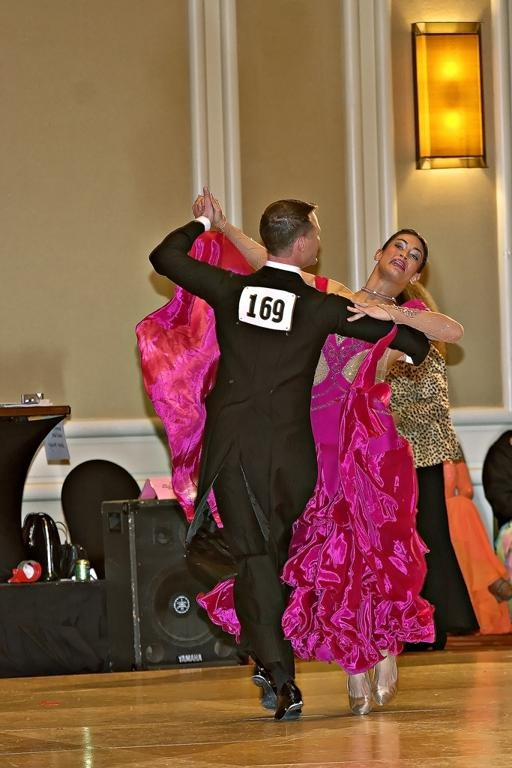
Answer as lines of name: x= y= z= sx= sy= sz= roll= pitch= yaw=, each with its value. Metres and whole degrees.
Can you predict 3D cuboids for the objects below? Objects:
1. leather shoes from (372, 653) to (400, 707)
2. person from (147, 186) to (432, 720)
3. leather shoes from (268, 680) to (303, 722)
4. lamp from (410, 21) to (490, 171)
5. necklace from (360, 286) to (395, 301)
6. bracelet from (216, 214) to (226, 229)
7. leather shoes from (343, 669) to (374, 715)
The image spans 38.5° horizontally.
leather shoes: x=0.336 y=0.750 z=1.904 sx=0.059 sy=0.158 sz=0.049 roll=-4 pitch=-6 yaw=25
person: x=0.044 y=0.154 z=1.816 sx=0.380 sy=1.198 sz=0.411 roll=-8 pitch=7 yaw=-38
leather shoes: x=0.067 y=0.714 z=1.647 sx=0.048 sy=0.052 sz=0.125 roll=0 pitch=-12 yaw=-2
lamp: x=1.153 y=-1.745 z=4.430 sx=0.422 sy=0.867 sz=0.184 roll=-3 pitch=6 yaw=3
necklace: x=0.402 y=-0.294 z=2.433 sx=0.074 sy=0.018 sz=0.071 roll=19 pitch=3 yaw=-12
bracelet: x=-0.103 y=-0.463 z=2.095 sx=0.029 sy=0.034 sz=0.034 roll=-3 pitch=-5 yaw=-9
leather shoes: x=0.249 y=0.753 z=1.784 sx=0.047 sy=0.128 sz=0.053 roll=-6 pitch=-4 yaw=2
